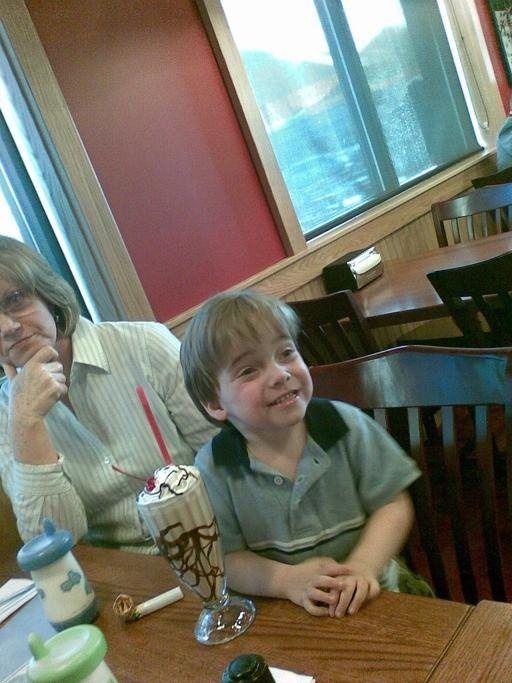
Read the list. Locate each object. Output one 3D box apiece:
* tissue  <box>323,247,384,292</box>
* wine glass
[{"bbox_3d":[0.504,-0.361,2.722,0.303,0.134,0.440,-24,11,2],"label":"tissue "},{"bbox_3d":[-0.070,0.281,0.669,0.106,0.235,0.100,-43,33,-27],"label":"wine glass"}]
